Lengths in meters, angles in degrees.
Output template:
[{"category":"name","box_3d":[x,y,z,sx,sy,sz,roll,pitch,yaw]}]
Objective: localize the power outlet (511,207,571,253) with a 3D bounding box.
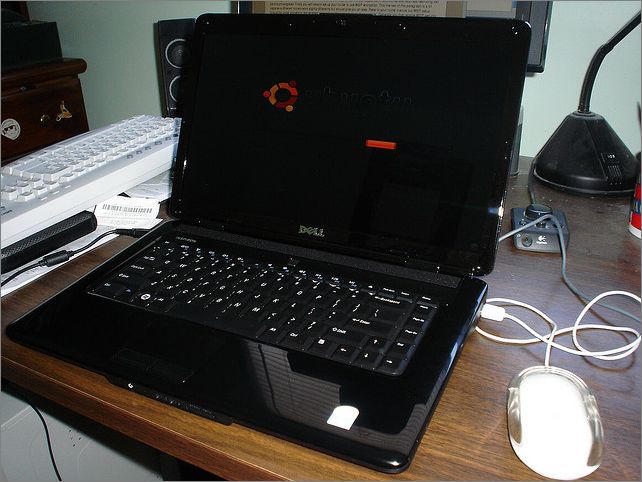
[{"category":"power outlet","box_3d":[0.330,-0.012,0.717,0.072,0.036,0.090,2,36,12]}]

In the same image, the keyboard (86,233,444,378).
[{"category":"keyboard","box_3d":[-0.048,0.021,0.509,0.326,0.022,0.127,12,38,27]}]

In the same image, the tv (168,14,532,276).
[{"category":"tv","box_3d":[0.039,-0.131,0.649,0.395,0.223,0.017,18,11,22]}]
